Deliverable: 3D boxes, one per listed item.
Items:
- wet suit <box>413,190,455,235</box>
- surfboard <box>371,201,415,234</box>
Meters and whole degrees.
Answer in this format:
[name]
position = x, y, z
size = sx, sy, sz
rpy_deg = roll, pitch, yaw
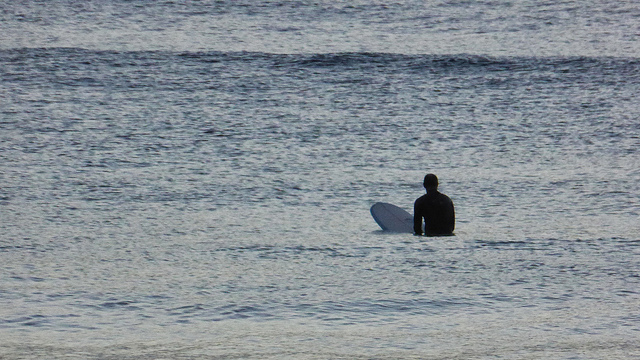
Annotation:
[wet suit]
position = 3.894, 1.010, 59.357
size = 1.457, 1.472, 0.382
rpy_deg = -7, 1, 2
[surfboard]
position = 2.672, 1.190, 60.776
size = 1.492, 1.140, 0.759
rpy_deg = -6, 2, 42
